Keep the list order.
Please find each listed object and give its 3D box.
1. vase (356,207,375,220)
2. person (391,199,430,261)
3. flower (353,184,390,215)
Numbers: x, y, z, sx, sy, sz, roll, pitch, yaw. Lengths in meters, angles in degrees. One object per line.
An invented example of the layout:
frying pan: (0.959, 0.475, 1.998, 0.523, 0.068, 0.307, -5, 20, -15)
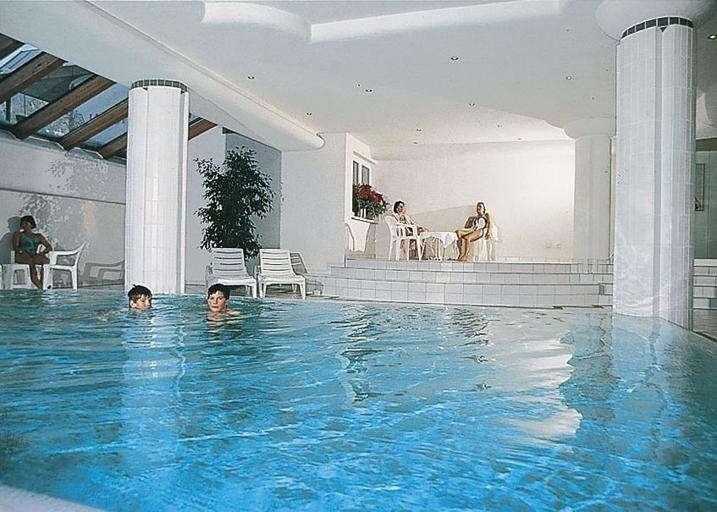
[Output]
vase: (0.196, -1.118, 12.852, 0.509, 0.317, 0.256, 0, 6, 8)
person: (1.332, -0.498, 11.645, 0.880, 0.966, 0.696, 6, 8, -18)
flower: (0.283, -1.460, 12.639, 0.577, 0.855, 1.080, 3, 6, 20)
